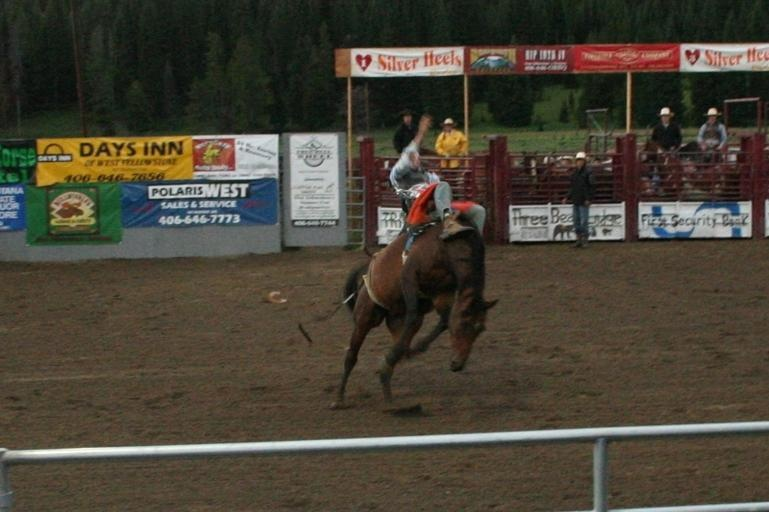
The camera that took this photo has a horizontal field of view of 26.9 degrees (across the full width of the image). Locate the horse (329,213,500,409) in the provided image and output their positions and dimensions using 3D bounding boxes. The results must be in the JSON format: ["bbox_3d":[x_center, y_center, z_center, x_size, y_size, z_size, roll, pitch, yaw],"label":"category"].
[{"bbox_3d":[0.832,1.680,42.056,5.464,4.730,8.554,1,-5,-5],"label":"horse"}]

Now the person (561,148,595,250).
[{"bbox_3d":[6.205,-1.762,50.737,0.624,2.943,0.542,-3,6,-2],"label":"person"}]

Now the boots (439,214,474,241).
[{"bbox_3d":[1.608,-0.699,40.690,0.989,0.558,0.446,-18,-10,18],"label":"boots"}]
